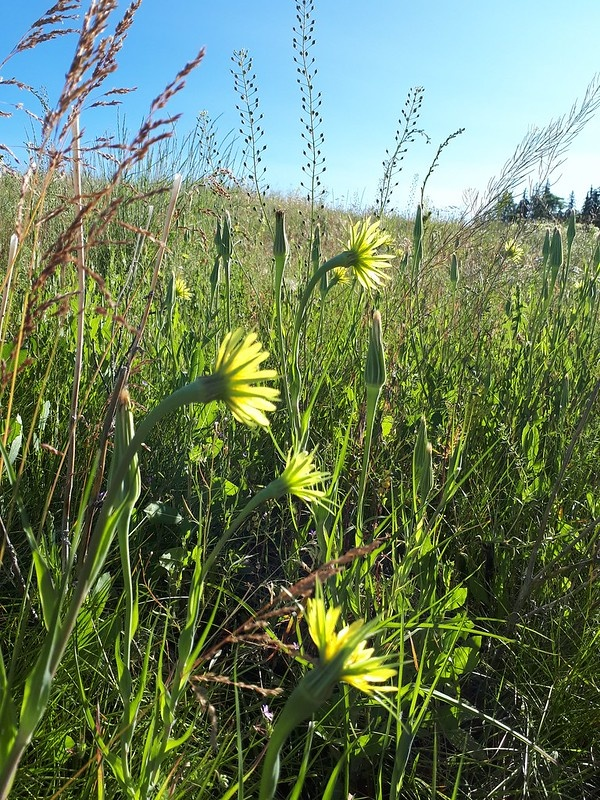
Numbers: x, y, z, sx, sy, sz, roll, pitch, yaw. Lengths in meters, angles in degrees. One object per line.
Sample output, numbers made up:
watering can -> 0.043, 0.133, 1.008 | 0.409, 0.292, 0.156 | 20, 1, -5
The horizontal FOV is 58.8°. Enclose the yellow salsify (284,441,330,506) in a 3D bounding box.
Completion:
yellow salsify -> 0.005, 0.127, 0.844 | 0.047, 0.095, 0.099 | -13, 49, 12
